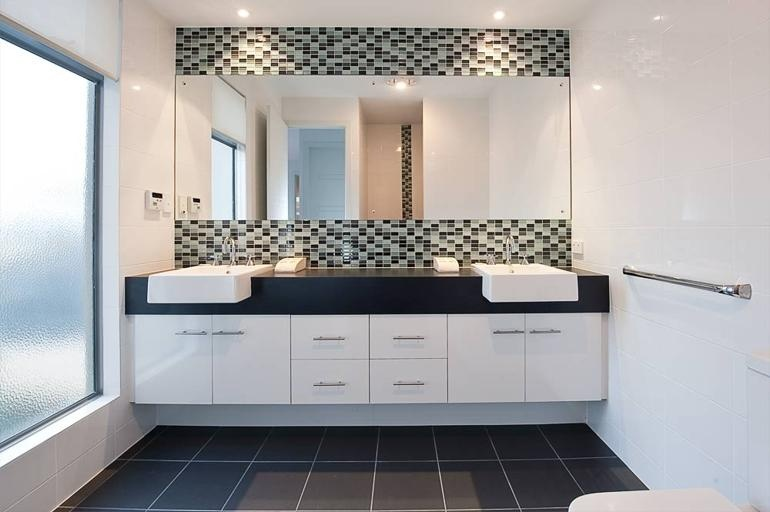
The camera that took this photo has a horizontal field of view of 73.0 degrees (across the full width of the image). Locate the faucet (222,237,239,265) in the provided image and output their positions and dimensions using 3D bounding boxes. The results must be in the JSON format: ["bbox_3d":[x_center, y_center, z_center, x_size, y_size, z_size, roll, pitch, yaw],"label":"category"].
[{"bbox_3d":[-1.242,-0.043,4.131,0.128,0.249,0.315,-3,13,-16],"label":"faucet"}]

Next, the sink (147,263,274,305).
[{"bbox_3d":[-1.268,0.177,3.815,0.763,0.236,0.634,2,13,6],"label":"sink"}]

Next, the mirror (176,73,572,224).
[{"bbox_3d":[0.085,-0.773,4.231,3.352,1.422,0.019,-4,-7,-12],"label":"mirror"}]

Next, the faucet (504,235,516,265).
[{"bbox_3d":[0.995,-0.058,4.120,0.073,0.260,0.274,3,13,13],"label":"faucet"}]
